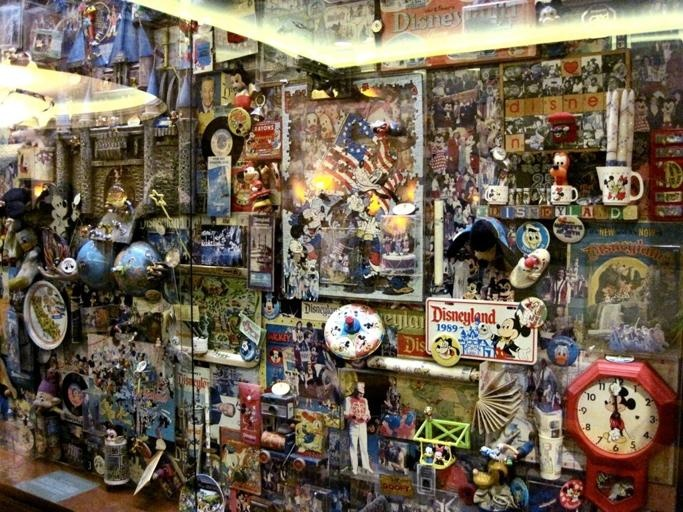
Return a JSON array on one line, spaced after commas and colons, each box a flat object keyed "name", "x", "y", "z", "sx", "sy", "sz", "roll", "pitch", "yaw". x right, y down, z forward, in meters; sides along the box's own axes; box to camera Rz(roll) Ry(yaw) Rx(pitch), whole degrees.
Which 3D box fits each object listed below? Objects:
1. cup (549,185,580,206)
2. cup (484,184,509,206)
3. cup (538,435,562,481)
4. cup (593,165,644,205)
[{"name": "cup", "x": 0.931, "y": -0.252, "z": 2.690, "sx": 0.091, "sy": 0.071, "sz": 0.072, "roll": 6, "pitch": 3, "yaw": 26}, {"name": "cup", "x": 0.676, "y": -0.262, "z": 2.796, "sx": 0.089, "sy": 0.074, "sz": 0.073, "roll": -1, "pitch": 2, "yaw": 2}, {"name": "cup", "x": 0.903, "y": 0.853, "z": 2.787, "sx": 0.098, "sy": 0.190, "sz": 0.104, "roll": -1, "pitch": 1, "yaw": 0}, {"name": "cup", "x": 1.143, "y": -0.282, "z": 2.645, "sx": 0.173, "sy": 0.164, "sz": 0.112, "roll": 4, "pitch": -2, "yaw": 31}]
